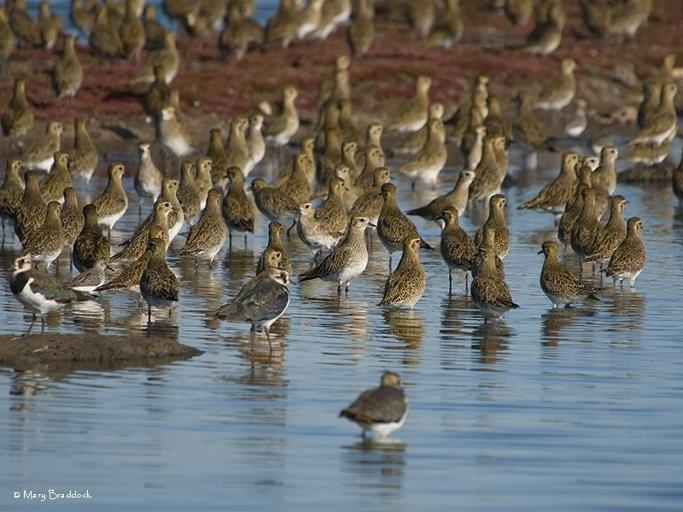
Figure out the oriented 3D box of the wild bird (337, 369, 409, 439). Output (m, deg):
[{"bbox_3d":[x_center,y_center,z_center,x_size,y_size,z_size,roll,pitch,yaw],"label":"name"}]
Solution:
[{"bbox_3d":[0.390,1.634,13.321,0.565,0.640,0.845,6,15,19],"label":"wild bird"}]
